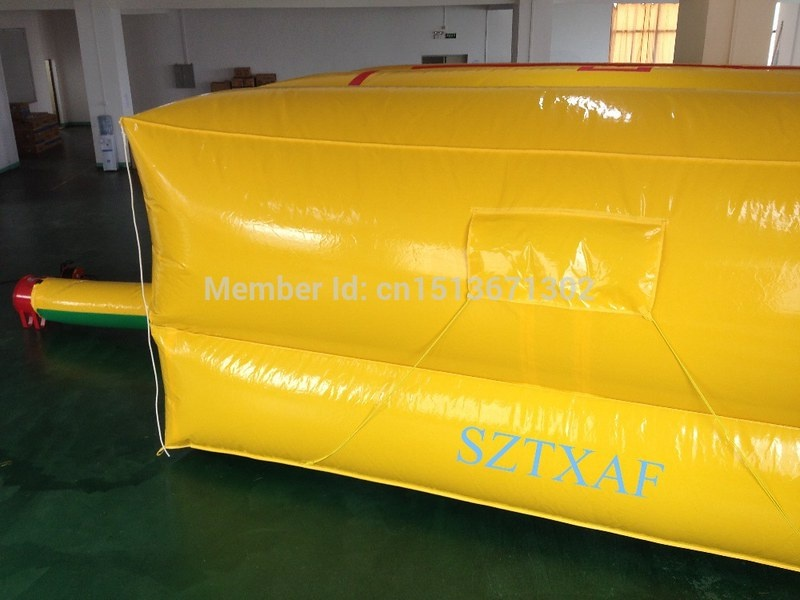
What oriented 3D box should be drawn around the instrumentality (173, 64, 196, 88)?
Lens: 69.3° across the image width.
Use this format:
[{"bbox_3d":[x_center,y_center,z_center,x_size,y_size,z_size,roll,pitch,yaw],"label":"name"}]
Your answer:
[{"bbox_3d":[-4.524,-4.765,12.202,0.411,0.477,0.095,12,38,12],"label":"instrumentality"}]
